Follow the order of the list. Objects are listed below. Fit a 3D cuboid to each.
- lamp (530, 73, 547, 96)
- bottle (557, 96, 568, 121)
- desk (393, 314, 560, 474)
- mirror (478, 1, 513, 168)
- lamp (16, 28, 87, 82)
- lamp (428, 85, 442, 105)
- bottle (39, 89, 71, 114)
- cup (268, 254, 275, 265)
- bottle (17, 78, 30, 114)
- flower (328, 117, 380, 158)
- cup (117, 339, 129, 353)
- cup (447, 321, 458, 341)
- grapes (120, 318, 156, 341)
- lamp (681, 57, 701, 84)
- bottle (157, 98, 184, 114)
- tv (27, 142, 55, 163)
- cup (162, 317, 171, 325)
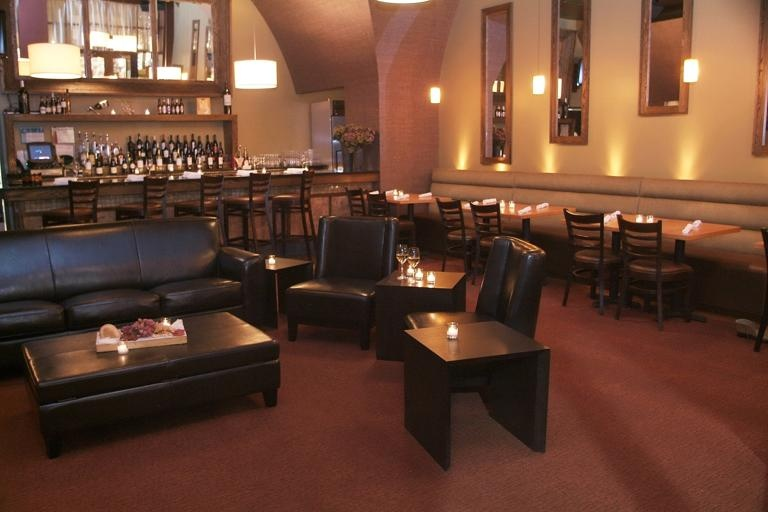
[{"bbox_3d":[2.428,-2.688,8.839,0.207,0.300,0.441,3,13,14],"label":"lamp"},{"bbox_3d":[2.797,-2.308,8.862,0.263,0.335,0.259,-1,3,0],"label":"bottle"},{"bbox_3d":[0.648,1.026,4.142,0.763,0.703,0.752,-2,1,-18],"label":"desk"},{"bbox_3d":[1.950,-2.922,9.736,0.234,2.626,0.796,-10,16,-33],"label":"mirror"},{"bbox_3d":[-4.467,-2.649,7.771,0.886,0.566,0.866,-3,11,-18],"label":"lamp"},{"bbox_3d":[0.966,-3.001,10.526,0.239,0.332,0.523,1,13,6],"label":"lamp"},{"bbox_3d":[-5.218,-2.447,8.983,0.468,0.454,0.160,-2,-1,-38],"label":"bottle"},{"bbox_3d":[-1.251,0.044,6.299,0.100,0.109,0.099,0,-2,0],"label":"cup"},{"bbox_3d":[-5.562,-2.457,8.742,0.172,0.499,0.267,-9,15,-31],"label":"bottle"},{"bbox_3d":[-0.470,-2.170,10.309,0.658,0.445,0.664,9,14,30],"label":"flower"},{"bbox_3d":[-1.999,0.693,4.347,0.084,0.091,0.082,2,3,0],"label":"cup"},{"bbox_3d":[0.495,0.545,4.051,0.102,0.105,0.089,0,1,-40],"label":"cup"},{"bbox_3d":[-1.920,0.554,4.452,0.168,0.077,0.195,4,12,19],"label":"grapes"},{"bbox_3d":[3.887,-2.358,7.163,0.210,0.299,0.411,6,14,27],"label":"lamp"},{"bbox_3d":[-3.707,-2.630,9.884,0.402,0.276,0.198,-7,14,-25],"label":"bottle"},{"bbox_3d":[-5.365,-1.617,8.854,0.194,0.324,0.363,0,5,45],"label":"tv"},{"bbox_3d":[-1.810,0.545,4.732,0.067,0.106,0.112,2,-2,-22],"label":"cup"}]
